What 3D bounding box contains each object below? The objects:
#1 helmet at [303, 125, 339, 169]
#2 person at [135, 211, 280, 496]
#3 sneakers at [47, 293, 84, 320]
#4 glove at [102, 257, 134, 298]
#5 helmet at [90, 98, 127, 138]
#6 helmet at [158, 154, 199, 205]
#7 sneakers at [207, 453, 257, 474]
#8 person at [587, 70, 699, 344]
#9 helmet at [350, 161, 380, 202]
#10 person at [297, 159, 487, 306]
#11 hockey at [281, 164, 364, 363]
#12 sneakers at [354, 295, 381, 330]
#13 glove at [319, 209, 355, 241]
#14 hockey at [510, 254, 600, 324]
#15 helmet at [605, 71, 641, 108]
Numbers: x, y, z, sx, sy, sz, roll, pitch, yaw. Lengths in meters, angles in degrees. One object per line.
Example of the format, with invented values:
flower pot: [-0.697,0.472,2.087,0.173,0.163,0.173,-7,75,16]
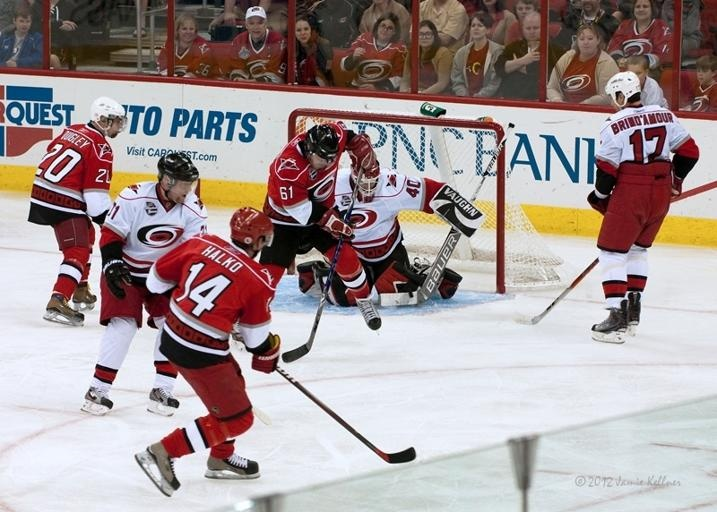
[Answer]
helmet: [-0.234,-0.655,6.032,0.194,0.211,0.207,-21,-22,-24]
person: [-0.662,0.410,4.432,0.602,1.241,0.532,2,10,-4]
sneakers: [-1.905,0.341,6.379,0.238,0.196,0.071,1,10,-12]
glove: [-1.236,0.112,5.032,0.134,0.198,0.065,-34,-14,17]
helmet: [-1.609,-0.887,6.464,0.293,0.232,0.217,15,9,10]
helmet: [-0.940,-0.386,5.112,0.192,0.275,0.268,1,9,-12]
sneakers: [-0.556,0.935,4.495,0.274,0.092,0.081,-1,6,-5]
person: [1.744,-0.320,6.319,0.670,1.677,0.424,-5,13,-39]
helmet: [0.051,-0.511,6.774,0.209,0.211,0.239,2,21,-8]
person: [0.261,-0.188,7.255,1.503,0.937,0.820,-13,7,30]
hockey: [-0.220,0.041,6.426,0.224,1.395,0.168,9,-25,47]
sneakers: [0.051,0.379,6.311,0.113,0.097,0.264,38,20,-45]
glove: [-0.143,-0.187,6.262,0.239,0.150,0.097,29,-32,-21]
hockey: [1.412,0.255,7.196,0.695,0.054,0.128,-35,-36,20]
helmet: [1.667,-1.052,6.300,0.213,0.212,0.252,-25,18,-38]
